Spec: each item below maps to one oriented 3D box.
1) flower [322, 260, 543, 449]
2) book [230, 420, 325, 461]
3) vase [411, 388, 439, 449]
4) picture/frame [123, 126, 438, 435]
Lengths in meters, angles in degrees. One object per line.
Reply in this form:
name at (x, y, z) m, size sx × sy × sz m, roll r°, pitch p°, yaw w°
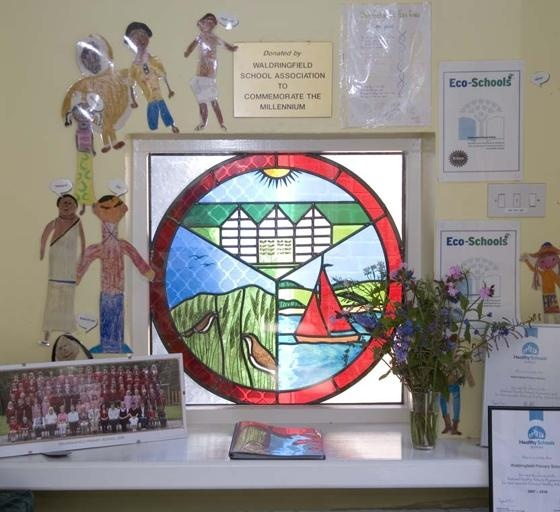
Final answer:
flower at (0.511, 0.342, 3.227) m, size 0.516 × 0.498 × 0.666 m, roll -3°, pitch 5°, yaw -5°
book at (-0.012, 0.610, 3.242) m, size 0.309 × 0.074 × 0.256 m, roll -1°, pitch 0°, yaw -1°
vase at (0.473, 0.547, 3.254) m, size 0.116 × 0.199 × 0.117 m, roll 1°, pitch -6°, yaw 10°
picture/frame at (0.016, 0.112, 3.439) m, size 1.015 × 1.016 × 0.014 m, roll 0°, pitch -2°, yaw -1°
